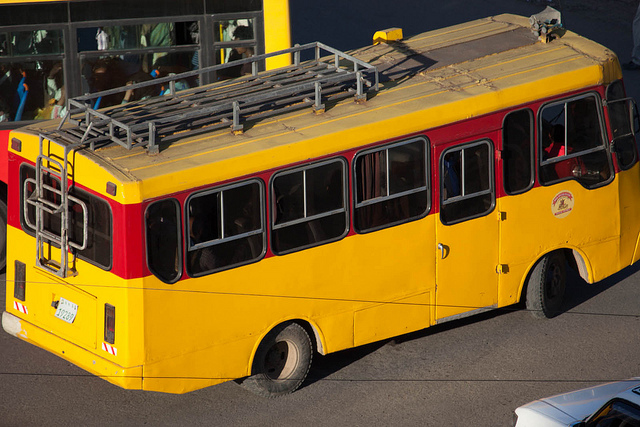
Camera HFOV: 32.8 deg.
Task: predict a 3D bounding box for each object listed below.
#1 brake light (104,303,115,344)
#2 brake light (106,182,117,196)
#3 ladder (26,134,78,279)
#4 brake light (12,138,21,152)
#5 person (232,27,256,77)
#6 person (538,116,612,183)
[{"bbox_3d":[-2.649,1.377,13.599,0.055,0.532,0.253,-19,-28,32],"label":"brake light"},{"bbox_3d":[-2.576,-0.303,13.347,0.153,0.143,0.037,9,5,23],"label":"brake light"},{"bbox_3d":[-3.447,-0.082,13.929,0.621,1.661,0.916,-20,28,-29],"label":"ladder"},{"bbox_3d":[-4.032,-0.914,14.371,0.022,0.114,0.162,-17,26,-42],"label":"brake light"},{"bbox_3d":[-1.235,-2.597,17.350,0.446,0.881,0.890,0,24,0],"label":"person"},{"bbox_3d":[3.506,-0.907,15.838,0.983,1.117,0.728,-7,9,-19],"label":"person"}]
